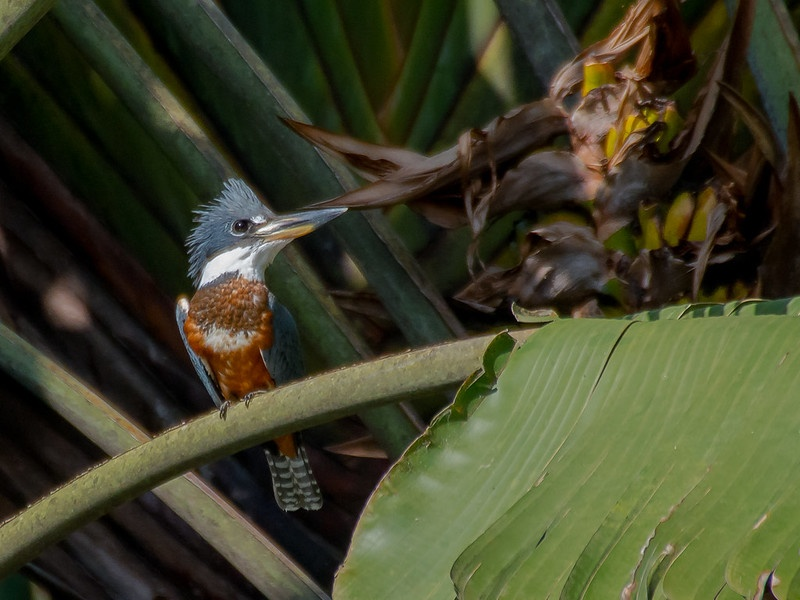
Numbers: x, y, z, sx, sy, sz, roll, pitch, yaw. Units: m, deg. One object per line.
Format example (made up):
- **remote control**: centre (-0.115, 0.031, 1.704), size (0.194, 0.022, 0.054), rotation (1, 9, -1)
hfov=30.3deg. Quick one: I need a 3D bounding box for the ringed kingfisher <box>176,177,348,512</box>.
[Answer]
- **ringed kingfisher**: centre (-0.425, 0.085, 4.757), size (0.277, 0.915, 0.877), rotation (14, 8, 34)
